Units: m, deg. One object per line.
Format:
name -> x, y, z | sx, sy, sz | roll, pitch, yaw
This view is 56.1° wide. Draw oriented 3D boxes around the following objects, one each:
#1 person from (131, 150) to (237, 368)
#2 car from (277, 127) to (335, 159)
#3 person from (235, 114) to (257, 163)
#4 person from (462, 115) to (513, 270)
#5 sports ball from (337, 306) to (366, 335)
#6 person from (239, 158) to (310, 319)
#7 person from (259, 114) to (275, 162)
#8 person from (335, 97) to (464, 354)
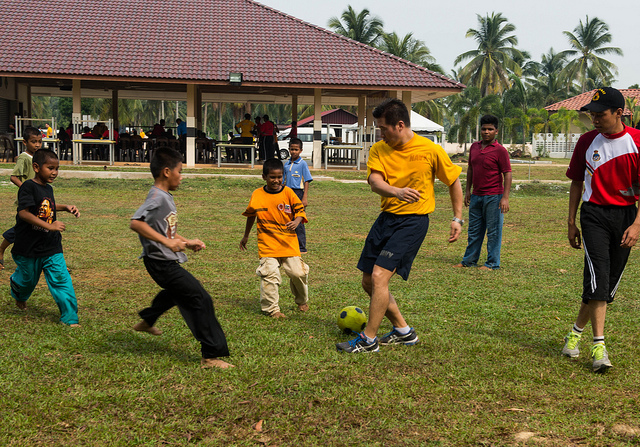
person -> -1.270, 0.211, 5.400 | 0.807, 1.775, 1.525 | -2, 12, -16
car -> -0.896, -4.703, 35.375 | 3.631, 1.693, 1.757 | 1, 7, 8
person -> -2.829, -3.352, 23.248 | 0.849, 1.795, 0.457 | 3, 5, 13
person -> 2.422, -0.451, 8.532 | 0.595, 2.131, 0.694 | 4, 13, 12
sports ball -> 0.273, 0.902, 5.843 | 0.278, 0.242, 0.298 | 11, 22, -5
person -> -0.415, 0.137, 6.359 | 0.699, 1.617, 0.773 | -2, 13, -17
person -> -1.937, -3.188, 22.275 | 0.557, 1.692, 1.131 | 0, 12, -6
person -> 0.758, 0.020, 5.386 | 1.107, 2.231, 0.607 | 1, 12, -3
